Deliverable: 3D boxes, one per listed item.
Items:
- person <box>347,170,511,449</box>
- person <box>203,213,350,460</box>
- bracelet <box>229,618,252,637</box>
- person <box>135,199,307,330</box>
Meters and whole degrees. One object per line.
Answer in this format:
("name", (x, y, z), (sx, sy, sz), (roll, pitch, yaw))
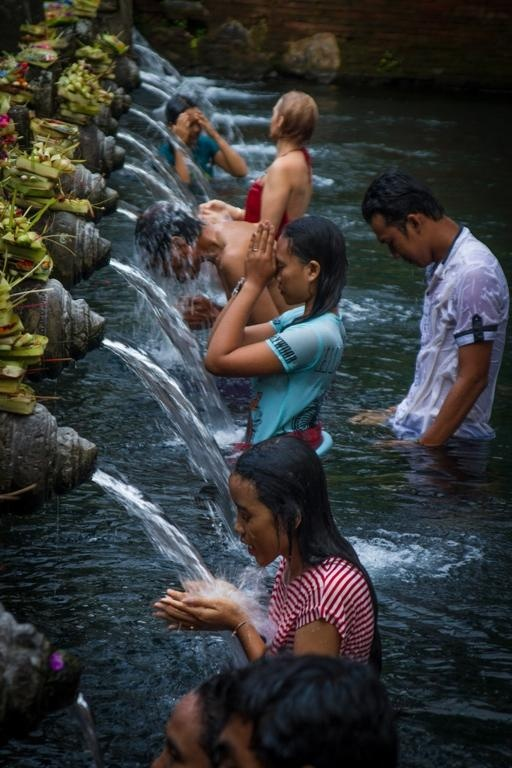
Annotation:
("person", (0.901, -0.336, 4.151), (0.713, 1.422, 0.618), (8, 19, 20))
("person", (0.063, -0.163, 3.122), (0.520, 0.937, 0.365), (2, 18, 4))
("bracelet", (-0.039, 0.647, 2.152), (0.044, 0.054, 0.019), (22, -15, 33))
("person", (-0.263, -0.650, 4.621), (0.840, 0.783, 0.616), (-26, 28, -17))
